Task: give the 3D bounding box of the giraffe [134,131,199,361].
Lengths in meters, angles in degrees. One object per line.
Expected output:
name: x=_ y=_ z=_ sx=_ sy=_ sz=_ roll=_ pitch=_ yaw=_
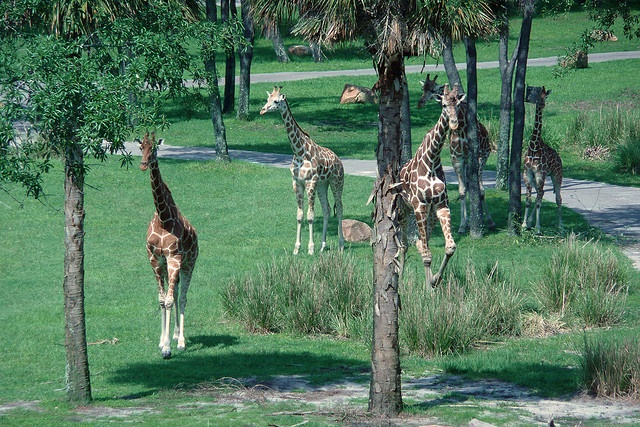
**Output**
giraffe: x=-3.836 y=0.736 z=39.008 sx=1.153 sy=5.745 sz=1.821 roll=-2 pitch=7 yaw=10
